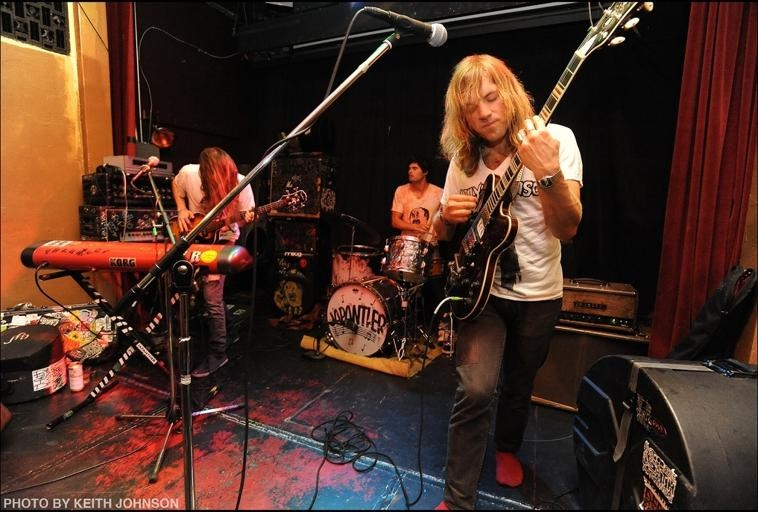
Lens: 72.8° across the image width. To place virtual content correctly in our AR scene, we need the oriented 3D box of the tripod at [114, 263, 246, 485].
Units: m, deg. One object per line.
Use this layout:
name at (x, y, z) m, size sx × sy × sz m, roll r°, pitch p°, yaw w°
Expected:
tripod at (-1.367, 0.627, 3.416) m, size 0.806 × 1.133 × 0.801 m, roll 12°, pitch 9°, yaw 23°

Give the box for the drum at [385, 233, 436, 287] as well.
drum at (0.265, 0.041, 4.819) m, size 0.459 × 0.461 × 0.340 m, roll 5°, pitch 11°, yaw 4°

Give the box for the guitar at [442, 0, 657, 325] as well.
guitar at (0.984, -0.572, 3.397) m, size 0.927 × 2.124 × 0.454 m, roll 5°, pitch 11°, yaw 8°

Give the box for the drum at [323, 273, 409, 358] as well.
drum at (-0.138, 0.473, 5.359) m, size 0.945 × 0.966 × 0.680 m, roll 8°, pitch 10°, yaw 30°

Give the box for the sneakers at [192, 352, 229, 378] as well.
sneakers at (-1.577, 0.994, 4.779) m, size 0.148 × 0.143 × 0.335 m, roll 3°, pitch 18°, yaw 45°

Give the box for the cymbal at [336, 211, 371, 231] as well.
cymbal at (-0.254, -0.365, 5.583) m, size 0.284 × 0.068 × 0.291 m, roll 21°, pitch -5°, yaw 36°

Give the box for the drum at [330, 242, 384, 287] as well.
drum at (-0.248, 0.088, 5.674) m, size 0.475 × 0.517 × 0.474 m, roll 3°, pitch 8°, yaw 1°

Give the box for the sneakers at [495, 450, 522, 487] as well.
sneakers at (0.965, 1.556, 3.838) m, size 0.201 × 0.143 × 0.356 m, roll 0°, pitch 21°, yaw 1°

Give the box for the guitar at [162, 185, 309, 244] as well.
guitar at (-1.291, -0.387, 5.043) m, size 1.480 × 0.579 × 0.172 m, roll -12°, pitch 0°, yaw 2°
